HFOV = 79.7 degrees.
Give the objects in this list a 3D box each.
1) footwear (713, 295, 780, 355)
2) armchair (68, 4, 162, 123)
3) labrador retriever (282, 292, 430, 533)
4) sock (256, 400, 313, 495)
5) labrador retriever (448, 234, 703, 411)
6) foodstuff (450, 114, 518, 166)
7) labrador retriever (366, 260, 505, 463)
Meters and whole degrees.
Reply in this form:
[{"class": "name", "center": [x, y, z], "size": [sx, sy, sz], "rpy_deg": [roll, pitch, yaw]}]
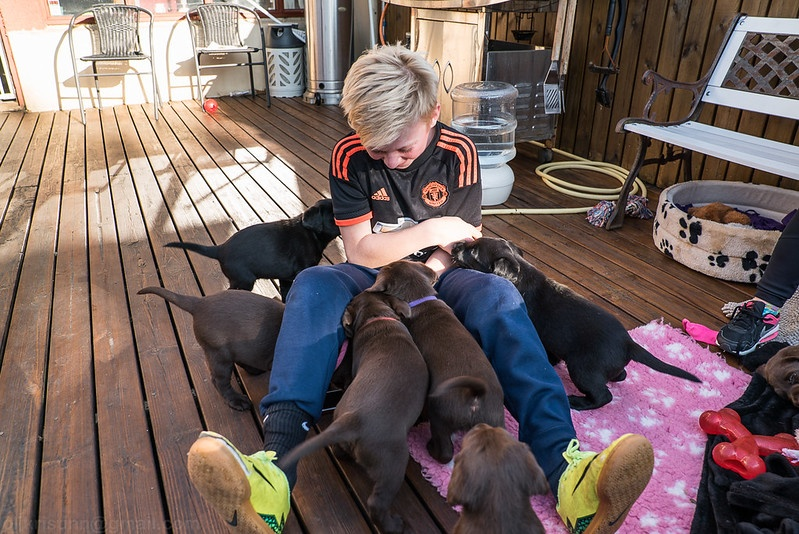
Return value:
[{"class": "footwear", "center": [1.867, 0.314, 2.578], "size": [0.444, 0.208, 0.158], "rpy_deg": [-17, 26, -24]}, {"class": "armchair", "center": [-3.982, -2.936, 6.751], "size": [1.158, 1.386, 0.954], "rpy_deg": [-12, 29, -22]}, {"class": "labrador retriever", "center": [-0.051, 0.409, 1.985], "size": [0.331, 0.468, 1.090], "rpy_deg": [6, 49, 10]}, {"class": "sock", "center": [-0.432, 0.635, 1.809], "size": [0.122, 0.166, 0.387], "rpy_deg": [-16, 47, 1]}, {"class": "labrador retriever", "center": [0.885, 0.286, 2.343], "size": [0.862, 0.398, 0.290], "rpy_deg": [38, 63, 15]}, {"class": "foodstuff", "center": [0.847, -1.187, 4.343], "size": [0.401, 0.422, 0.412], "rpy_deg": [-5, 14, -14]}, {"class": "labrador retriever", "center": [0.156, 0.329, 2.167], "size": [0.378, 0.539, 0.982], "rpy_deg": [-22, 47, -1]}]
